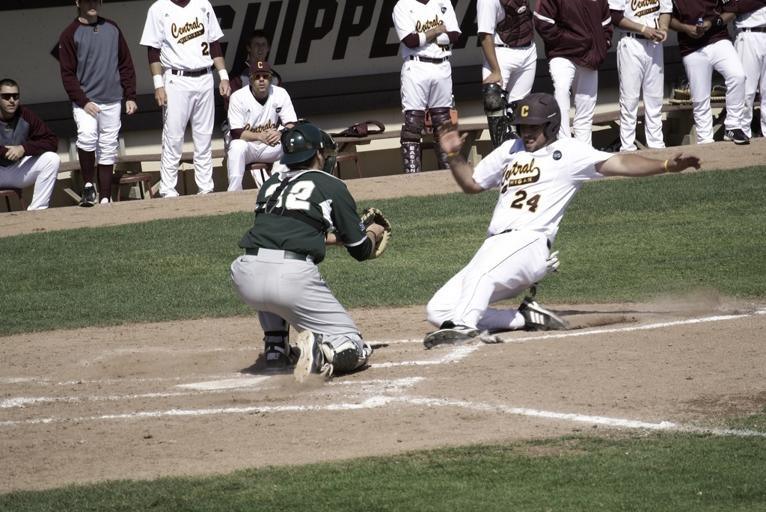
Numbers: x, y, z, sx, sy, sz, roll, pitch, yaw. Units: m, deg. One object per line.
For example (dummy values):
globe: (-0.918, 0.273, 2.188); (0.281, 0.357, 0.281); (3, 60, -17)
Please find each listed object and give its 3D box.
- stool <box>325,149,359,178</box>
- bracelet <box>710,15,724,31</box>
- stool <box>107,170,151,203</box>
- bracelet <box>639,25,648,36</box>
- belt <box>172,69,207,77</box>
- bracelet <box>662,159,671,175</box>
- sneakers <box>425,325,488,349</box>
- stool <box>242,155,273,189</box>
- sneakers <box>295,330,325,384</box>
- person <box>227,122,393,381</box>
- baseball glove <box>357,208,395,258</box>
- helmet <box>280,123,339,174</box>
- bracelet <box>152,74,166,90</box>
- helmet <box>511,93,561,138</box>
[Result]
stool: (-0.518, -1.299, 21.007); (0.570, 0.510, 0.567); (0, 7, 3)
bracelet: (4.130, -2.882, 19.184); (0.119, 0.081, 0.149); (8, -35, 13)
stool: (-3.330, -0.991, 20.494); (0.673, 0.483, 0.511); (-2, 4, -24)
bracelet: (3.176, -2.756, 18.976); (0.045, 0.111, 0.109); (6, -13, 3)
belt: (-2.381, -2.243, 18.986); (0.449, 0.094, 0.062); (-4, 3, -20)
bracelet: (2.691, -0.863, 14.757); (0.053, 0.114, 0.137); (-3, 3, 8)
sneakers: (0.662, 0.753, 14.721); (0.545, 0.193, 0.208); (-1, 32, 2)
stool: (-1.525, -1.086, 19.859); (0.404, 0.486, 0.434); (-1, 3, -10)
sneakers: (-0.666, 0.921, 14.174); (0.221, 0.497, 0.252); (-2, -12, 22)
person: (-0.725, -0.074, 14.424); (1.399, 2.364, 0.795); (-4, 3, -5)
baseball glove: (-0.023, -0.219, 14.872); (0.205, 0.441, 0.349); (-2, 29, -44)
helmet: (-0.719, -1.006, 14.418); (0.434, 0.428, 0.528); (6, 15, 39)
bracelet: (-2.782, -2.129, 18.965); (0.174, 0.162, 0.163); (0, -4, 7)
helmet: (1.523, -1.383, 15.108); (0.493, 0.352, 0.354); (-21, 20, -33)
